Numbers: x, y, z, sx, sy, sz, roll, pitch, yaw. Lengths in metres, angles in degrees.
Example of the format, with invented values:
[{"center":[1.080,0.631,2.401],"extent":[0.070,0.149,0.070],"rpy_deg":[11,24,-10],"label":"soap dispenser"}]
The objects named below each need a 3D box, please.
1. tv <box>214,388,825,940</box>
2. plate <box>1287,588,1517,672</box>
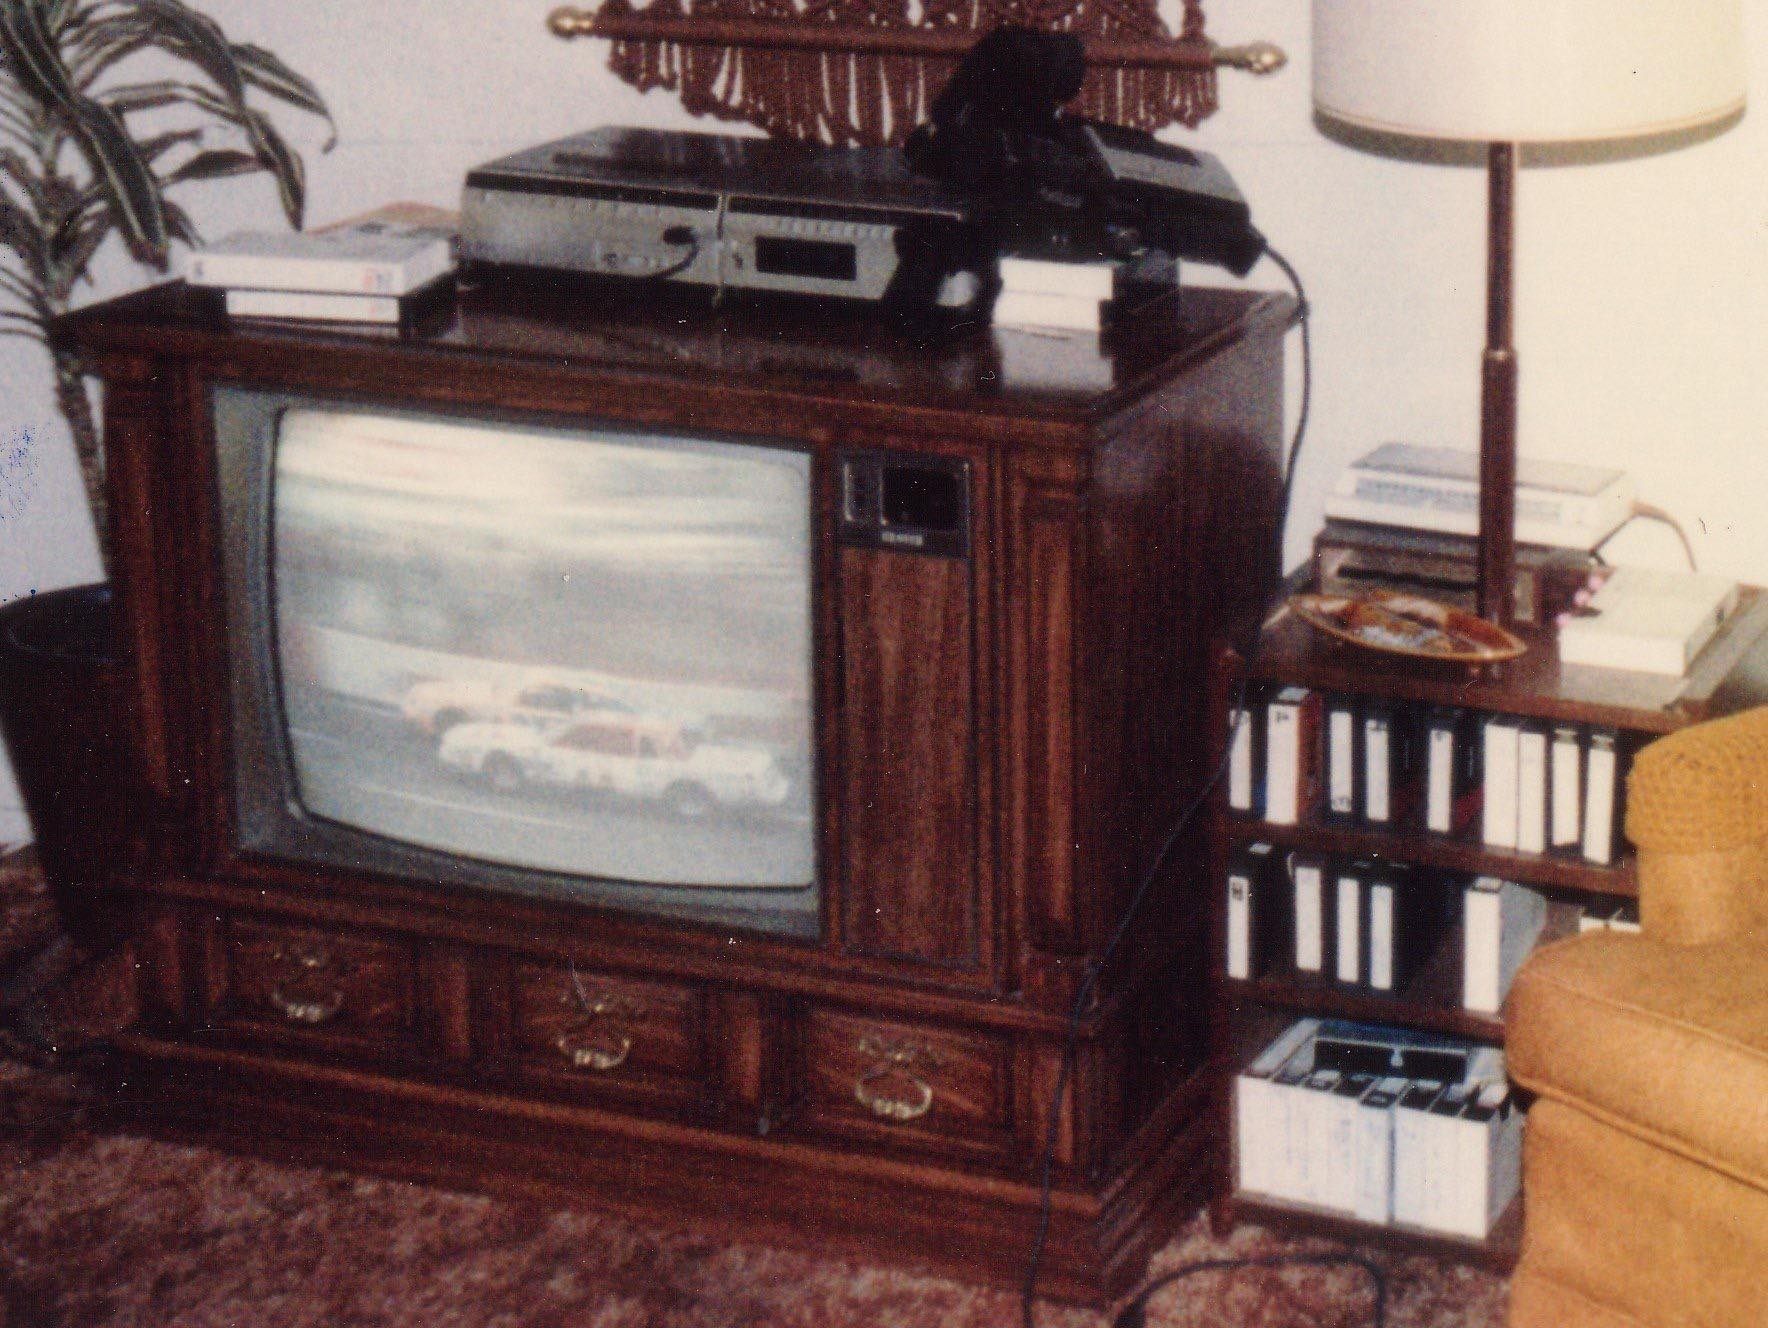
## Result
[{"center":[-0.434,-0.023,2.401],"extent":[0.658,0.477,0.235],"rpy_deg":[6,22,12],"label":"tv"},{"center":[0.623,-0.041,2.265],"extent":[0.231,0.048,0.107],"rpy_deg":[13,37,32],"label":"plate"}]
